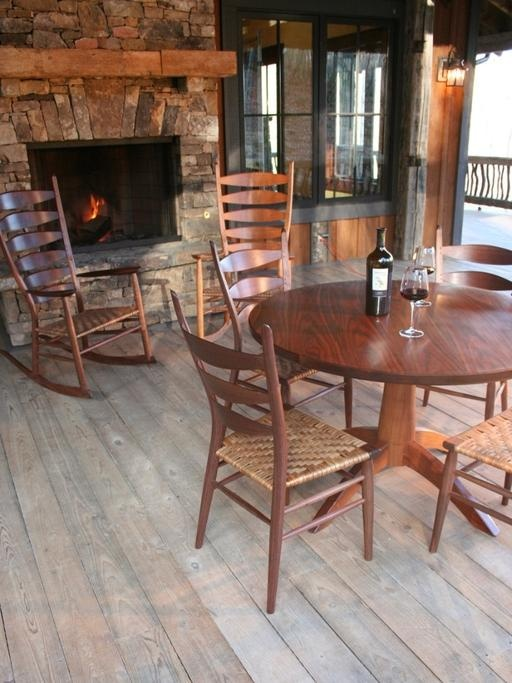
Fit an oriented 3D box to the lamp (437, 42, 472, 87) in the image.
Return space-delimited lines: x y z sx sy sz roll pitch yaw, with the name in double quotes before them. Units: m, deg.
"lamp" 2.016 -2.849 5.433 0.299 0.476 0.259 -15 34 -20
